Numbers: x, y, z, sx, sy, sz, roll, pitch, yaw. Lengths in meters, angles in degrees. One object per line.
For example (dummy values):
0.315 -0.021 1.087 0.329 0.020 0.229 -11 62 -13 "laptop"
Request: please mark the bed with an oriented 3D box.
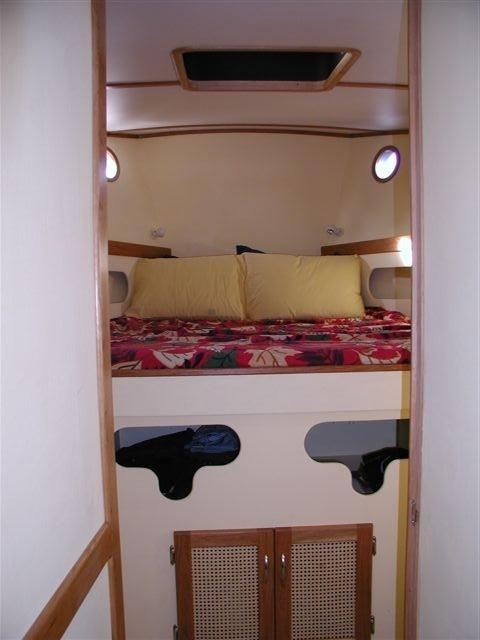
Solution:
0.181 -0.126 2.231 1.440 0.500 1.141 -4 7 -14 "bed"
